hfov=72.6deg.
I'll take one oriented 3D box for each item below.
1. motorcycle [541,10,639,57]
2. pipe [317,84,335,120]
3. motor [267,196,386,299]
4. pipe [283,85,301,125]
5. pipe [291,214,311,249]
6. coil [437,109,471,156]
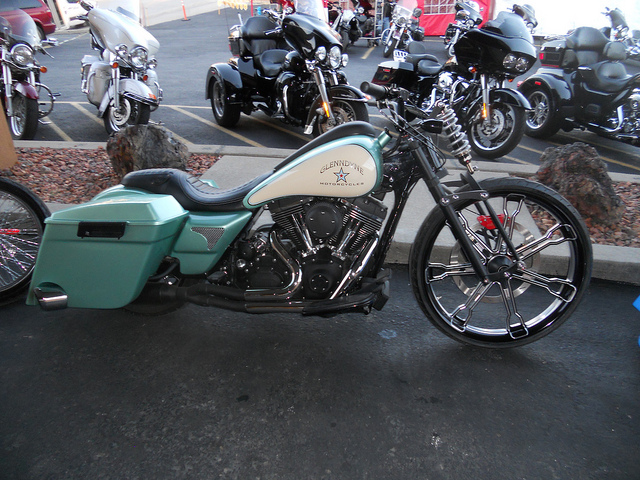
[{"bbox_3d":[5.275,-3.821,7.965,0.700,0.752,1.499,-17,36,-33],"label":"motorcycle"},{"bbox_3d":[0.102,-2.175,6.855,0.165,0.650,0.104,-27,-7,-5],"label":"pipe"},{"bbox_3d":[0.038,-0.024,3.228,1.044,0.657,0.661,4,23,-2],"label":"motor"},{"bbox_3d":[-0.526,-2.322,7.559,0.108,0.458,0.453,-6,23,16],"label":"pipe"},{"bbox_3d":[-0.124,-0.073,3.040,0.037,0.285,0.036,-39,3,-39],"label":"pipe"},{"bbox_3d":[0.916,-0.708,2.910,0.316,0.305,0.234,5,27,6],"label":"coil"}]
